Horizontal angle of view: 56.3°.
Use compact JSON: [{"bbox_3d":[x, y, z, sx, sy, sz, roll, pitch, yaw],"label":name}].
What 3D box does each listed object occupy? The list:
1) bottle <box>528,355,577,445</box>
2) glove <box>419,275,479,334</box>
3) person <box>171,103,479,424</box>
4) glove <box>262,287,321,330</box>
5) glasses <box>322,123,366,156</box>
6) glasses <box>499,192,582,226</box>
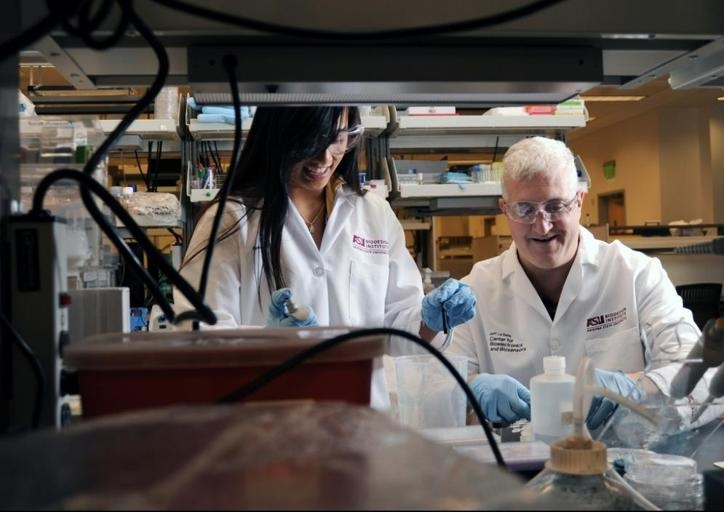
[{"bbox_3d":[0.392,0.285,1.389,0.089,0.160,0.091,-2,8,0],"label":"bottle"},{"bbox_3d":[0.222,0.133,1.875,0.133,0.176,0.093,-2,30,-7],"label":"glove"},{"bbox_3d":[-0.155,0.115,2.085,0.820,1.361,0.689,-1,-2,-10],"label":"person"},{"bbox_3d":[-0.148,0.113,1.418,0.102,0.099,0.071,11,35,3],"label":"glove"},{"bbox_3d":[-0.046,-0.327,1.907,0.086,0.091,0.032,-22,-16,41],"label":"glasses"},{"bbox_3d":[0.609,-0.155,2.250,0.245,0.096,0.146,-1,0,7],"label":"glasses"}]
